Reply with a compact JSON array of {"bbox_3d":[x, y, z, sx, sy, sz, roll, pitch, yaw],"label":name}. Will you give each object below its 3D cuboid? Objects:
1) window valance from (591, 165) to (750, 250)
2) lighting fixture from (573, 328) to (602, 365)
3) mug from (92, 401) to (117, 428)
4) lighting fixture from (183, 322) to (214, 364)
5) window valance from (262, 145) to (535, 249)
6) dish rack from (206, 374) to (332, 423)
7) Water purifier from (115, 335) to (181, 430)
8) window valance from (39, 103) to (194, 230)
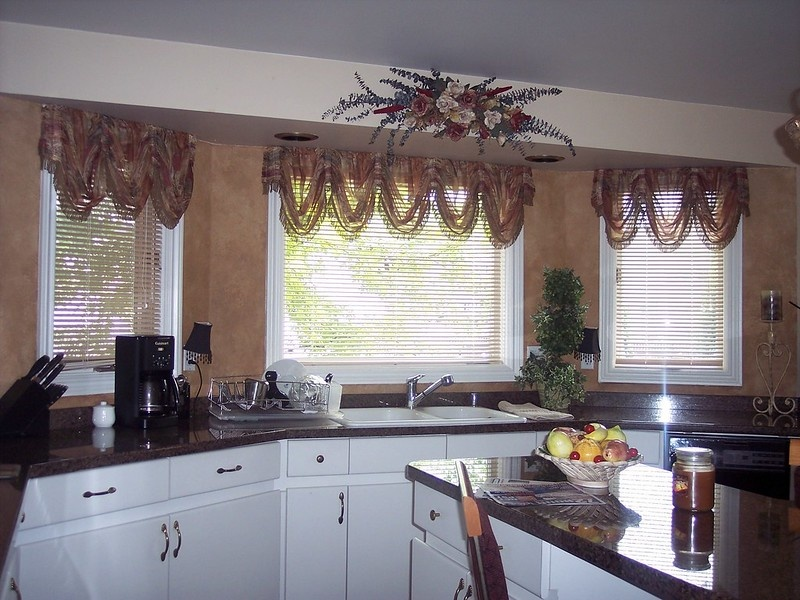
[{"bbox_3d":[1.964,-0.673,4.929,1.088,0.604,0.157,-2,1,0],"label":"window valance"},{"bbox_3d":[1.325,0.318,4.725,0.207,0.256,0.215,5,3,32],"label":"lighting fixture"},{"bbox_3d":[-1.629,0.639,3.772,0.118,0.147,0.125,0,6,-8],"label":"mug"},{"bbox_3d":[-1.248,0.268,4.141,0.191,0.276,0.194,7,9,-2],"label":"lighting fixture"},{"bbox_3d":[0.003,-0.692,4.676,1.868,0.690,0.165,-2,1,-16],"label":"window valance"},{"bbox_3d":[-0.790,0.562,4.116,0.794,0.235,0.603,1,4,-17],"label":"dish rack"},{"bbox_3d":[-1.409,0.442,3.768,0.242,0.567,0.280,8,7,43],"label":"Water purifier"},{"bbox_3d":[-1.629,-0.755,3.956,0.180,0.613,0.890,-1,2,44],"label":"window valance"}]
